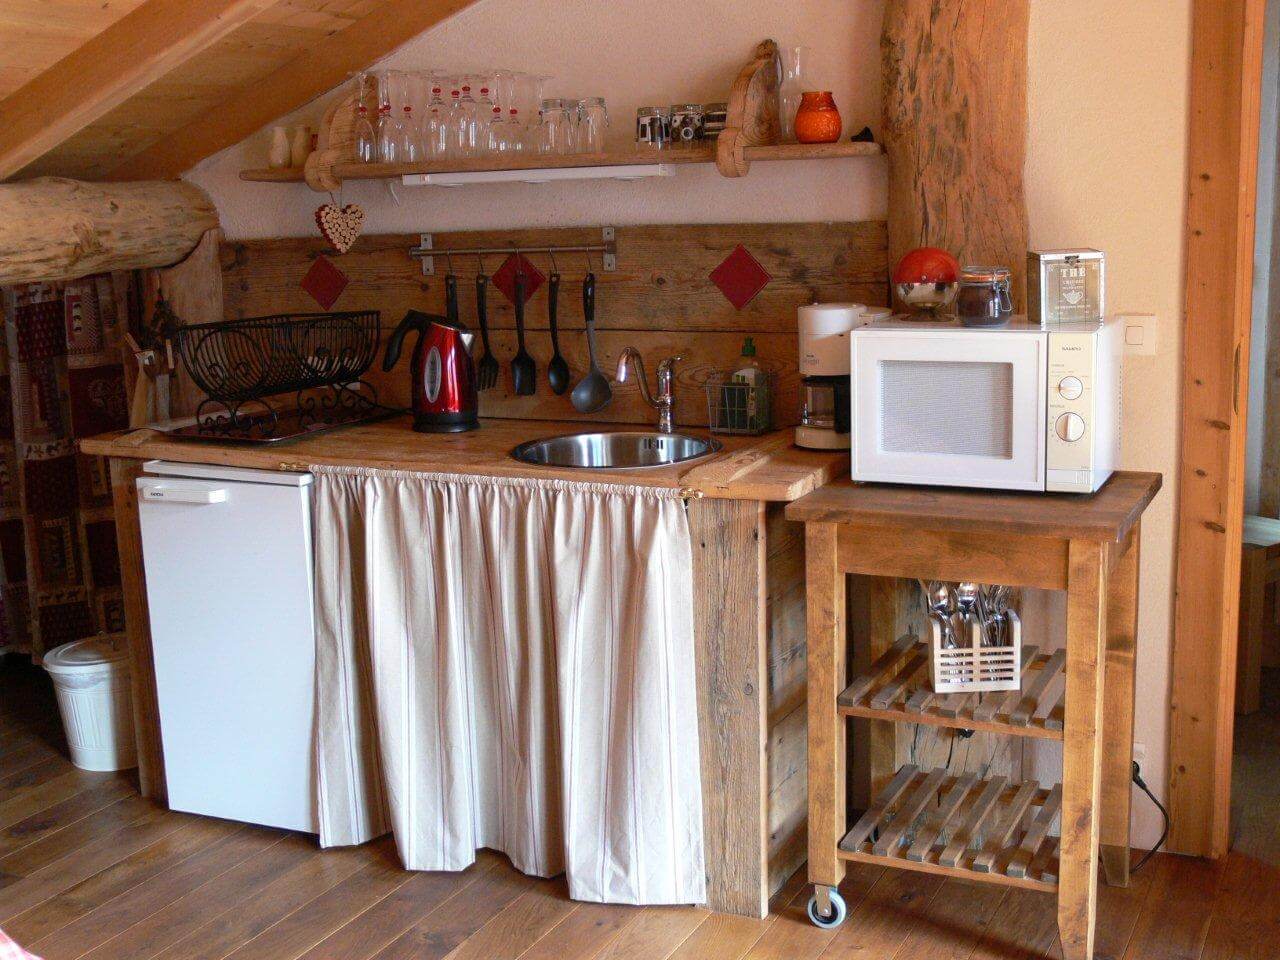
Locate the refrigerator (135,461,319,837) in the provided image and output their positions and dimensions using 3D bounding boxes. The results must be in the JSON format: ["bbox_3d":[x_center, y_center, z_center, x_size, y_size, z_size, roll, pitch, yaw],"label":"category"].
[{"bbox_3d":[-1.079,0.455,3.325,0.518,1.124,0.512,8,17,24],"label":"refrigerator"}]

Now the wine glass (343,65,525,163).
[{"bbox_3d":[-0.586,-1.102,3.387,0.566,0.325,0.320,-1,16,18],"label":"wine glass"}]

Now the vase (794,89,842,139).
[{"bbox_3d":[0.468,-0.971,2.934,0.133,0.123,0.132,-6,19,-13],"label":"vase"}]

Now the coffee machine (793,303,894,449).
[{"bbox_3d":[0.533,-0.290,2.932,0.225,0.354,0.282,6,16,37],"label":"coffee machine"}]

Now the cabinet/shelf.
[{"bbox_3d":[0.805,0.561,2.642,1.017,1.300,0.865,4,13,25],"label":"cabinet/shelf"}]

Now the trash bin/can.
[{"bbox_3d":[-1.789,0.739,3.618,0.234,0.401,0.303,-9,9,-26],"label":"trash bin/can"}]

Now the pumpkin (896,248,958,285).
[{"bbox_3d":[0.708,-0.528,2.724,0.126,0.090,0.100,-8,9,-22],"label":"pumpkin"}]

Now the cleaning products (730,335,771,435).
[{"bbox_3d":[0.320,-0.276,3.173,0.100,0.274,0.125,-4,9,9],"label":"cleaning products"}]

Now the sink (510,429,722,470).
[{"bbox_3d":[-0.057,-0.105,3.044,0.444,0.137,0.430,3,9,30],"label":"sink"}]

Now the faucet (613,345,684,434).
[{"bbox_3d":[0.021,-0.259,3.202,0.193,0.258,0.352,-5,8,0],"label":"faucet"}]

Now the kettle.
[{"bbox_3d":[-0.619,-0.316,3.264,0.241,0.361,0.140,-5,8,-3],"label":"kettle"}]

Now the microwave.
[{"bbox_3d":[0.894,-0.194,2.783,0.662,0.424,0.531,2,9,28],"label":"microwave"}]

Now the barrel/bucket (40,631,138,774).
[{"bbox_3d":[-1.727,0.736,3.710,0.386,0.370,0.381,-2,9,0],"label":"barrel/bucket"}]
